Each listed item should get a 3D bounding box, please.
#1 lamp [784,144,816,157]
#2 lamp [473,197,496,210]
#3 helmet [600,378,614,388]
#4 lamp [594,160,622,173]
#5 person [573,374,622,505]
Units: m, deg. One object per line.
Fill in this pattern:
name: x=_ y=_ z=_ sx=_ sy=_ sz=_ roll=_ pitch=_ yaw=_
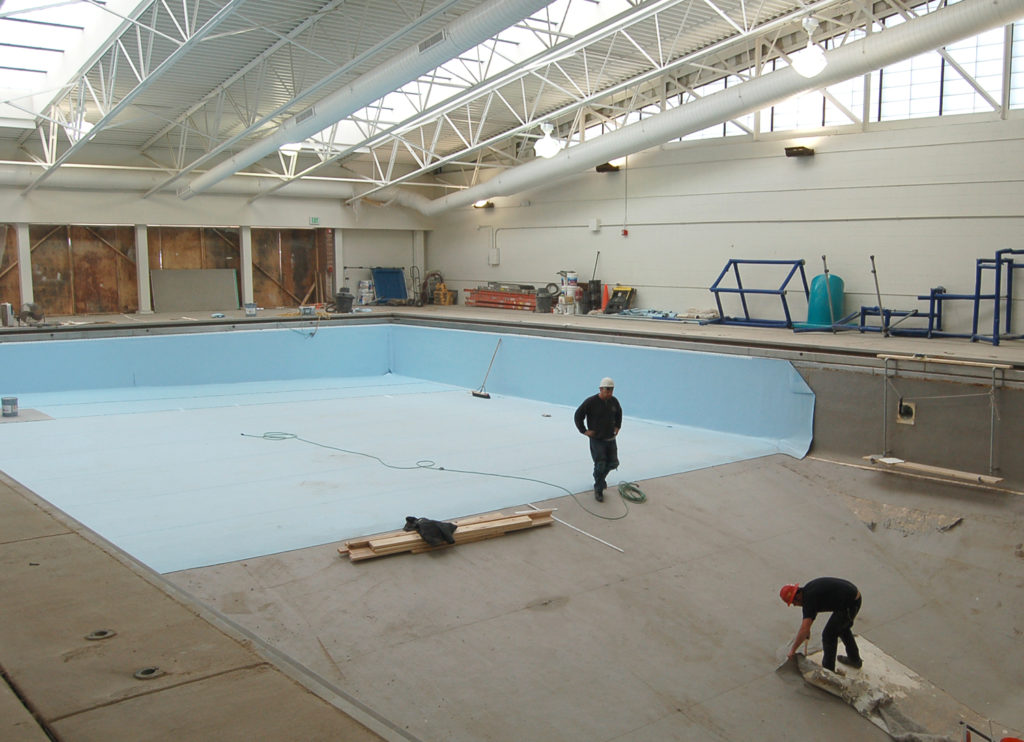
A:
lamp: x=5.867 y=-4.484 z=13.326 sx=0.574 sy=0.269 sz=0.357 roll=8 pitch=13 yaw=31
lamp: x=-0.908 y=-5.125 z=20.039 sx=0.297 sy=0.301 sz=0.921 roll=-10 pitch=15 yaw=-43
helmet: x=1.102 y=0.135 z=7.632 sx=0.162 sy=0.106 sz=0.206 roll=1 pitch=0 yaw=8
lamp: x=2.395 y=-5.175 z=16.646 sx=0.357 sy=0.246 sz=0.727 roll=-8 pitch=14 yaw=-38
person: x=1.052 y=0.746 z=7.969 sx=0.506 sy=1.459 sz=0.827 roll=3 pitch=12 yaw=10
